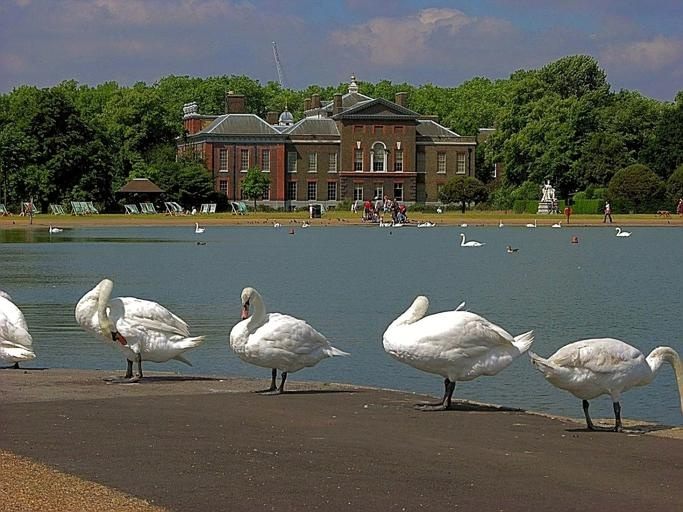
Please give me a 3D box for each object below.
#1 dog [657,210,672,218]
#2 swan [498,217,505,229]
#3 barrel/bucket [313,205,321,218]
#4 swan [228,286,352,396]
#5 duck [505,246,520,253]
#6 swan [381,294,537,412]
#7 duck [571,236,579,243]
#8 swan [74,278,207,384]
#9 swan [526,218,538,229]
[{"bbox_3d":[22.902,-2.834,98.149,0.973,0.399,0.578,6,10,-7],"label":"dog"},{"bbox_3d":[10.576,-2.034,91.416,0.367,0.533,1.072,-2,1,3],"label":"swan"},{"bbox_3d":[-1.847,-3.206,103.421,0.525,0.868,1.093,0,6,16],"label":"barrel/bucket"},{"bbox_3d":[-0.932,1.706,27.805,2.903,2.170,1.447,5,-5,-29],"label":"swan"},{"bbox_3d":[7.547,-0.238,60.499,0.639,0.374,0.355,1,0,-28],"label":"duck"},{"bbox_3d":[2.277,1.848,26.613,2.872,1.908,1.469,1,-6,-2],"label":"swan"},{"bbox_3d":[11.588,-0.725,68.460,0.535,0.406,0.512,0,1,-1],"label":"duck"},{"bbox_3d":[-4.081,1.502,27.540,2.173,2.083,0.875,-2,6,-6],"label":"swan"},{"bbox_3d":[12.302,-1.941,89.832,0.415,0.820,1.229,-2,-4,33],"label":"swan"}]
